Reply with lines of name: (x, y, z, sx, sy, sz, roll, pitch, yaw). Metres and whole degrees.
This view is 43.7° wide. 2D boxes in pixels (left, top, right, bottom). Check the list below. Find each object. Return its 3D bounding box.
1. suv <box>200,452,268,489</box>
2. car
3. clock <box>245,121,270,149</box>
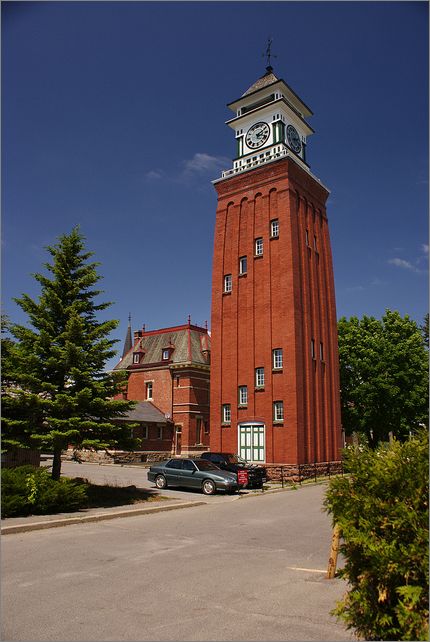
suv: (0.929, 6.728, 24.179, 2.471, 1.173, 1.536, -16, -20, 42)
car: (-0.775, 6.159, 21.210, 3.367, 1.074, 1.474, -9, -15, 35)
clock: (2.886, -12.758, 36.698, 0.241, 2.037, 2.111, 12, -18, -40)
